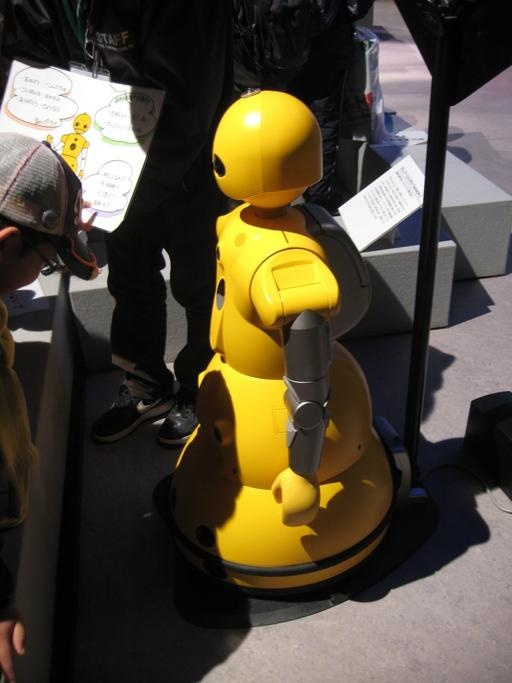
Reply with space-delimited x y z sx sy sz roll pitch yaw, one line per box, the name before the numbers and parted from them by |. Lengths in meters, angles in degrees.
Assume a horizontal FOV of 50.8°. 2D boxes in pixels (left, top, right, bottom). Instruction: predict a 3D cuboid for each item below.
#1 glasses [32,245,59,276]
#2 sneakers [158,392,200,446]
glasses | -0.405 -0.159 1.030 0.041 0.053 0.054 17 21 23
sneakers | -0.255 0.268 1.984 0.109 0.133 0.307 4 11 13
